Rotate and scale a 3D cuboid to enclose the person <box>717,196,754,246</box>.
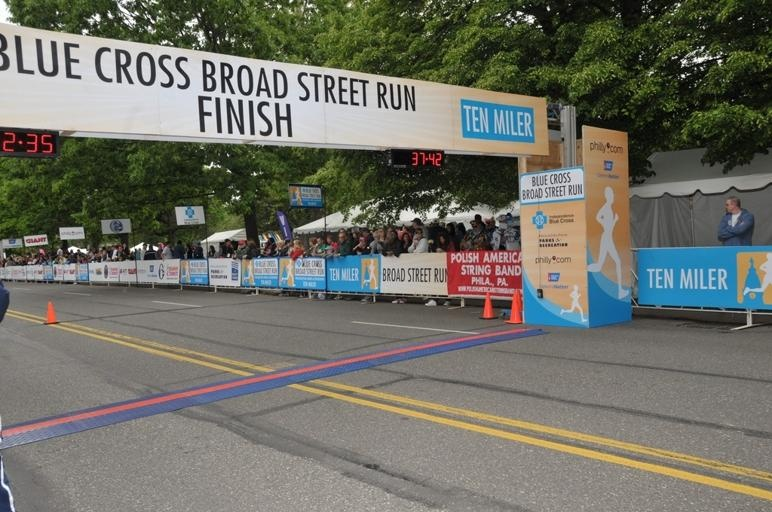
[{"bbox_3d":[7.940,-0.769,14.705,0.670,1.110,0.549,3,11,27],"label":"person"}]

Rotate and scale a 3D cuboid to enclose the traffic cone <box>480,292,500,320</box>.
[{"bbox_3d":[2.669,1.288,16.466,0.559,0.659,0.577,-2,-3,-6],"label":"traffic cone"}]

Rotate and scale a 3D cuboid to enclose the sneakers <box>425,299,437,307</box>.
[{"bbox_3d":[1.329,1.388,19.350,0.380,0.185,0.148,-1,-3,40],"label":"sneakers"}]

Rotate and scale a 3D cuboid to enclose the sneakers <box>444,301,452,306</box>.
[{"bbox_3d":[1.817,1.400,19.148,0.236,0.111,0.348,-2,10,2],"label":"sneakers"}]

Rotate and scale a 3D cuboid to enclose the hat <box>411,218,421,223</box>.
[{"bbox_3d":[0.962,-1.100,20.319,0.251,0.101,0.254,-1,4,-16],"label":"hat"}]

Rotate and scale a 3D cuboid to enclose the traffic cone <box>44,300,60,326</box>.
[{"bbox_3d":[-10.477,1.788,20.350,0.561,0.796,0.544,-3,3,-6],"label":"traffic cone"}]
